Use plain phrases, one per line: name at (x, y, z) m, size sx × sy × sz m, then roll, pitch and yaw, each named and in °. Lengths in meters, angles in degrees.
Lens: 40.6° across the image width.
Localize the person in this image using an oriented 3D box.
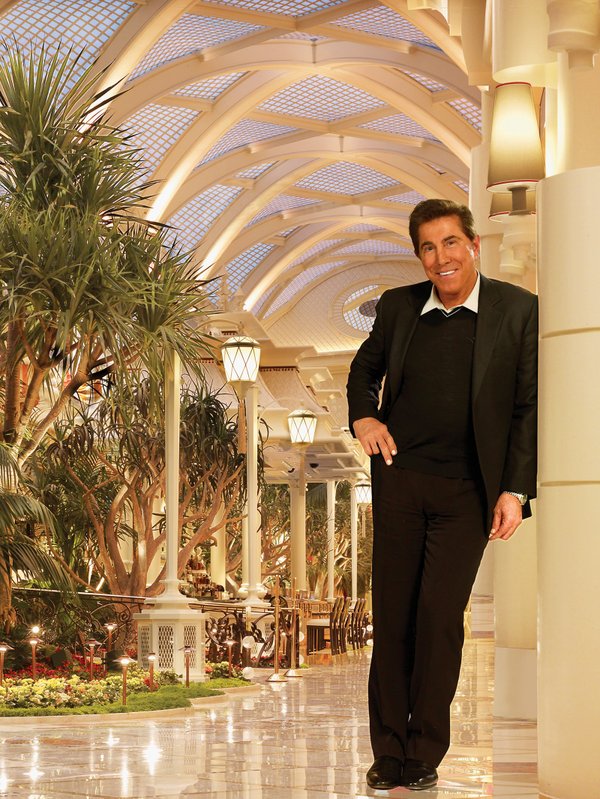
person at (0.363, 0.218, 2.176) m, size 0.567 × 1.562 × 0.345 m, roll -3°, pitch -9°, yaw 23°

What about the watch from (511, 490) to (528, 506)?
watch at (0.540, 0.245, 1.992) m, size 0.029 × 0.026 × 0.099 m, roll -3°, pitch -9°, yaw 24°

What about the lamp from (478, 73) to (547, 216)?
lamp at (1.223, -1.476, 4.646) m, size 0.300 × 0.776 × 0.339 m, roll -1°, pitch -8°, yaw 13°

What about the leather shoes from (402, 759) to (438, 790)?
leather shoes at (0.293, 0.925, 1.982) m, size 0.082 × 0.056 × 0.132 m, roll 0°, pitch -9°, yaw 7°

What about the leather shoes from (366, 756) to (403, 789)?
leather shoes at (0.210, 0.940, 2.021) m, size 0.091 × 0.061 × 0.121 m, roll 0°, pitch -9°, yaw 6°
